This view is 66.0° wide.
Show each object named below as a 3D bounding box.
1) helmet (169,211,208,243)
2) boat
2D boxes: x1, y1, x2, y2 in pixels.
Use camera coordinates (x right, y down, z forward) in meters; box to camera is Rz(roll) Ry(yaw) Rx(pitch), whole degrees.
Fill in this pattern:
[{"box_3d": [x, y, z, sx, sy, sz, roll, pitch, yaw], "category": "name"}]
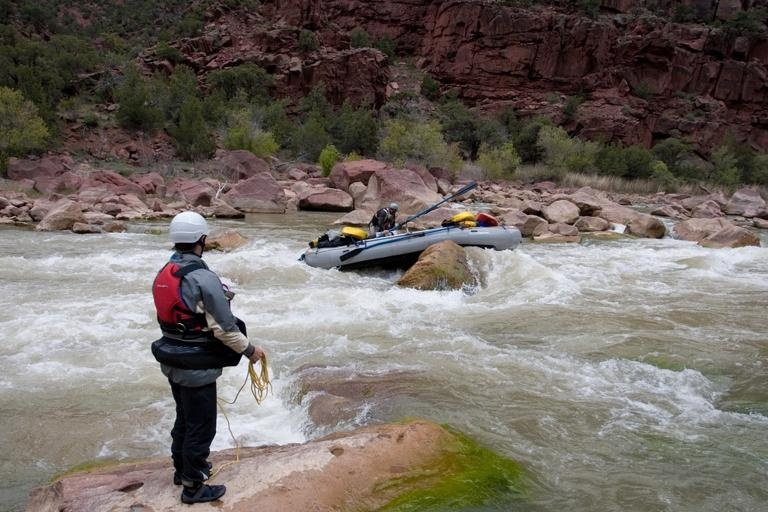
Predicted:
[{"box_3d": [-2.595, -0.363, 8.008, 0.448, 0.357, 0.506, -2, -14, 8], "category": "helmet"}, {"box_3d": [0.757, -0.258, 16.128, 3.631, 0.606, 2.075, -10, -4, -1], "category": "boat"}]
